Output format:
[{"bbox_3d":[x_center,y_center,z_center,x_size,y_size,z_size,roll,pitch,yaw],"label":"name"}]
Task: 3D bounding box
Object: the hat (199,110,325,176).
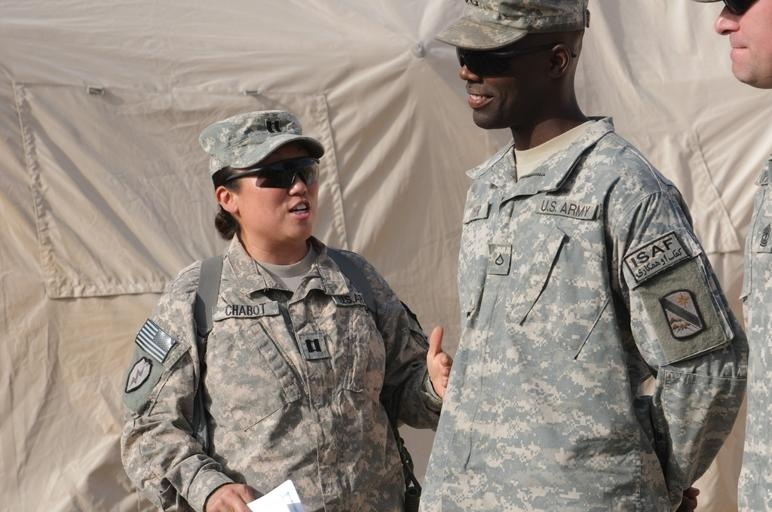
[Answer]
[{"bbox_3d":[-0.850,-0.729,7.716,0.463,0.237,0.599,-1,-13,-44],"label":"hat"}]
